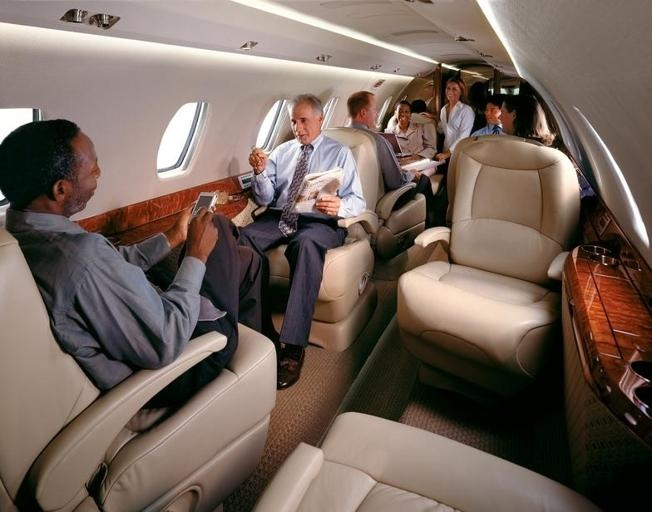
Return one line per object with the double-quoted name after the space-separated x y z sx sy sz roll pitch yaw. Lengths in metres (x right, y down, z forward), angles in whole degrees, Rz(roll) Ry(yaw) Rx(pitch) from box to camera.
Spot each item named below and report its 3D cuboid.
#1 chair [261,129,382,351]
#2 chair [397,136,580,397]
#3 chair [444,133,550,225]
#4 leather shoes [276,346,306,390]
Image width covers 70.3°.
0.128 -0.245 3.448 0.589 1.291 1.429 5 20 24 "chair"
0.901 0.011 2.558 0.809 1.196 0.952 8 20 31 "chair"
1.111 -0.526 3.103 0.438 0.732 0.546 3 10 19 "chair"
-0.214 0.649 2.758 0.151 0.187 0.203 -2 18 0 "leather shoes"
